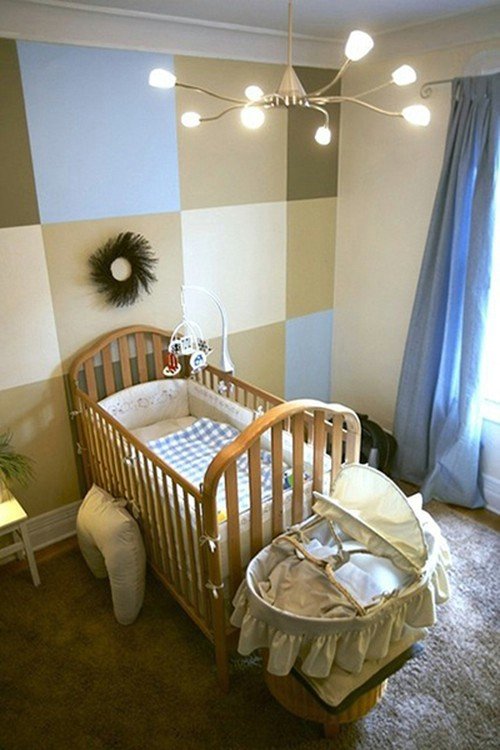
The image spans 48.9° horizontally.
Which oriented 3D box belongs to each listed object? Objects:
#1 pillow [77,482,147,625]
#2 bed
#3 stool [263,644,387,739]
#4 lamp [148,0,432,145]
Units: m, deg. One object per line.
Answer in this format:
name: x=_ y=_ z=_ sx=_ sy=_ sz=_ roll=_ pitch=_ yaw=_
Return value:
pillow: x=-0.581 y=0.774 z=2.342 sx=0.137 sy=0.379 sz=0.428 roll=-10 pitch=32 yaw=-26
bed: x=-0.253 y=0.326 z=2.606 sx=0.993 sy=1.161 sz=1.504 roll=-19 pitch=34 yaw=-32
stool: x=0.226 y=1.038 z=1.740 sx=0.398 sy=0.288 sz=0.265 roll=3 pitch=20 yaw=9
lamp: x=0.164 y=-1.436 z=2.591 sx=0.800 sy=0.841 sz=0.847 roll=-10 pitch=23 yaw=-27
